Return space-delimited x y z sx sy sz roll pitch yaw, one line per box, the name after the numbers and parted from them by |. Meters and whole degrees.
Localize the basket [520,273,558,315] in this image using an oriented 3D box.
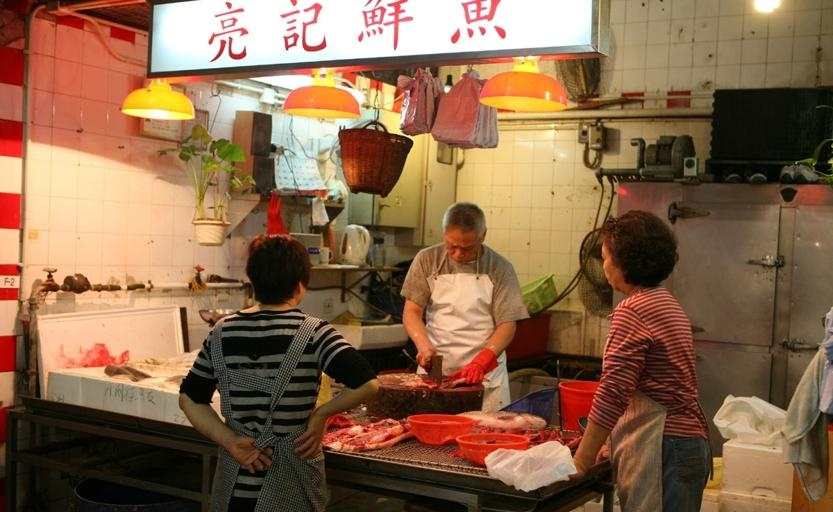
1.376 0.373 7.449 0.382 0.230 0.555 -28 -2 14 | basket

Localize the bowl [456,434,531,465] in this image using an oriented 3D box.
0.411 1.087 3.823 0.354 0.126 0.341 0 -2 0 | bowl

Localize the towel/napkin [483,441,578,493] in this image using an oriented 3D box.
0.628 1.066 3.571 0.335 0.094 0.279 -2 2 -32 | towel/napkin

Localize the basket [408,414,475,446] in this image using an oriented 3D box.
0.149 1.024 4.045 0.407 0.153 0.196 0 4 5 | basket

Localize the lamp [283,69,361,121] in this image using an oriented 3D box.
-0.675 -1.133 4.662 0.429 0.289 0.401 3 5 41 | lamp

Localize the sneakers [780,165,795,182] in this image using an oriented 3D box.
3.599 -0.800 6.412 0.112 0.154 0.068 2 -1 20 | sneakers

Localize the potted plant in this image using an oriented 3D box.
-1.887 -0.642 6.037 0.857 1.074 0.501 -3 5 -29 | potted plant

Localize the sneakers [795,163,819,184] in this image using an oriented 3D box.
3.748 -0.795 6.391 0.213 0.093 0.151 11 -17 -4 | sneakers

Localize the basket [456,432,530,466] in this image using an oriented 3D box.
0.396 1.077 3.796 0.314 0.109 0.301 -1 -1 -5 | basket

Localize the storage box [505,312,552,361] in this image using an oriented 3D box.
1.276 0.878 7.427 0.477 0.410 0.686 -4 -6 37 | storage box

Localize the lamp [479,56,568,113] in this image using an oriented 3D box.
0.731 -1.090 4.434 0.432 0.210 0.422 3 4 23 | lamp

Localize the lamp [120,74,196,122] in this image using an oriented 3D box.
-2.016 -1.248 5.215 0.523 0.269 0.498 4 13 5 | lamp

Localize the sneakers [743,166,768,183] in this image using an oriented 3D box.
3.346 -0.812 6.534 0.168 0.187 0.146 0 4 3 | sneakers

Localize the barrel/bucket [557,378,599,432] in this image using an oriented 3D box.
1.021 0.902 4.271 0.340 0.336 0.322 -1 0 0 | barrel/bucket

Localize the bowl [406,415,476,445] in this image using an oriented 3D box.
0.149 1.024 4.045 0.407 0.153 0.196 0 4 5 | bowl

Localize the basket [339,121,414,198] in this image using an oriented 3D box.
-0.374 -0.836 5.543 0.646 0.663 0.661 3 -1 26 | basket
